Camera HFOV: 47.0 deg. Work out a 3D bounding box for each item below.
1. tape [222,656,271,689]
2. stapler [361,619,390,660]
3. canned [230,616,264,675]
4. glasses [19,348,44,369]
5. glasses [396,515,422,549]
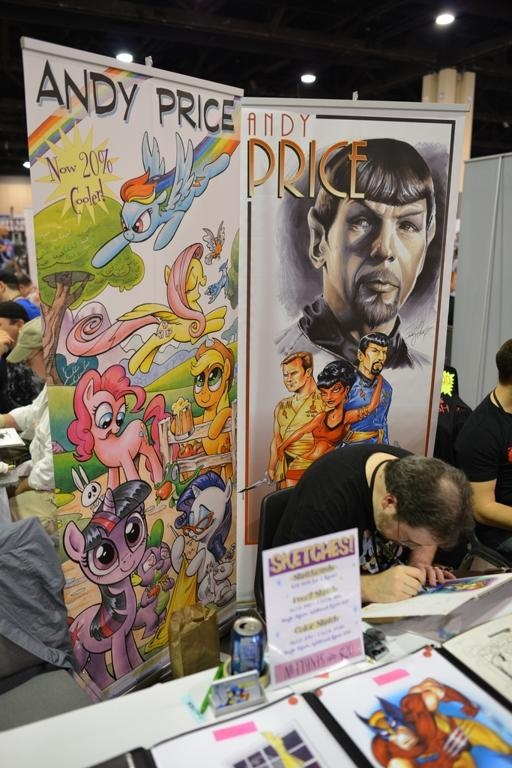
[{"bbox_3d":[-0.019,0.530,1.085,0.072,0.031,0.082,0,-2,-3],"label":"tape"},{"bbox_3d":[0.246,0.529,1.217,0.054,0.018,0.066,-13,24,-16],"label":"stapler"},{"bbox_3d":[-0.017,0.503,1.131,0.065,0.090,0.117,-1,15,0],"label":"canned"},{"bbox_3d":[-0.905,-0.112,2.377,0.029,0.072,0.056,11,38,-41],"label":"glasses"},{"bbox_3d":[0.346,0.341,1.339,0.023,0.081,0.075,-15,-17,16],"label":"glasses"}]
